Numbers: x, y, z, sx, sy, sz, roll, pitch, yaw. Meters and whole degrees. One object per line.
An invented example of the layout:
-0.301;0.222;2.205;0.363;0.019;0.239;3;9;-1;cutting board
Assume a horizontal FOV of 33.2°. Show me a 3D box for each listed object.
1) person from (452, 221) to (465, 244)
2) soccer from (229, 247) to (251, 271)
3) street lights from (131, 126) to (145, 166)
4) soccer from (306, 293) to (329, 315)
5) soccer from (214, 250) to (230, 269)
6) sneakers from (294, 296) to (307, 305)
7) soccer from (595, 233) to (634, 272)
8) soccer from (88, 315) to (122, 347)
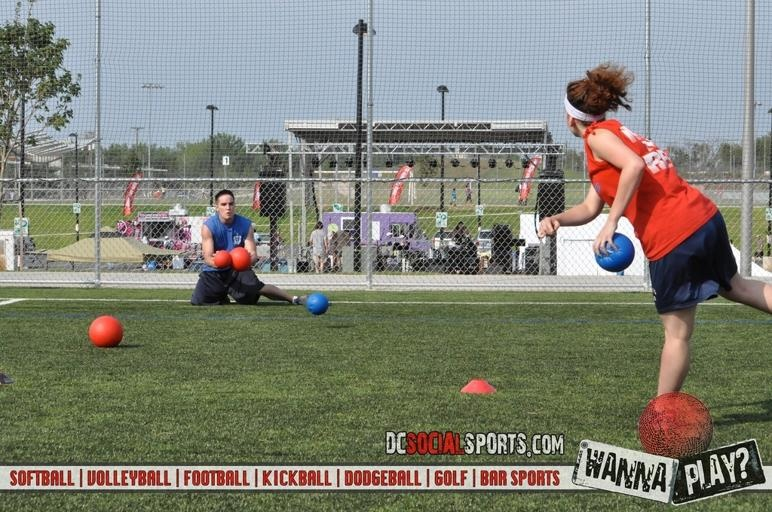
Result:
1.634;-0.499;28.852;0.220;0.496;0.728;-1;1;6;person
-1.959;0.034;17.420;0.273;0.293;0.286;16;-7;-30;soccer
-3.939;-1.716;20.602;0.175;0.631;0.108;-1;0;37;street lights
-0.931;0.662;17.608;0.287;0.301;0.385;-1;1;-4;soccer
-2.168;0.056;17.390;0.213;0.219;0.219;11;10;-7;soccer
-1.230;0.637;18.553;0.152;0.078;0.191;1;-2;-4;sneakers
2.552;-0.023;14.065;0.339;0.403;0.329;5;-16;-32;soccer
-3.368;0.890;15.735;0.354;0.379;0.361;-2;10;17;soccer
